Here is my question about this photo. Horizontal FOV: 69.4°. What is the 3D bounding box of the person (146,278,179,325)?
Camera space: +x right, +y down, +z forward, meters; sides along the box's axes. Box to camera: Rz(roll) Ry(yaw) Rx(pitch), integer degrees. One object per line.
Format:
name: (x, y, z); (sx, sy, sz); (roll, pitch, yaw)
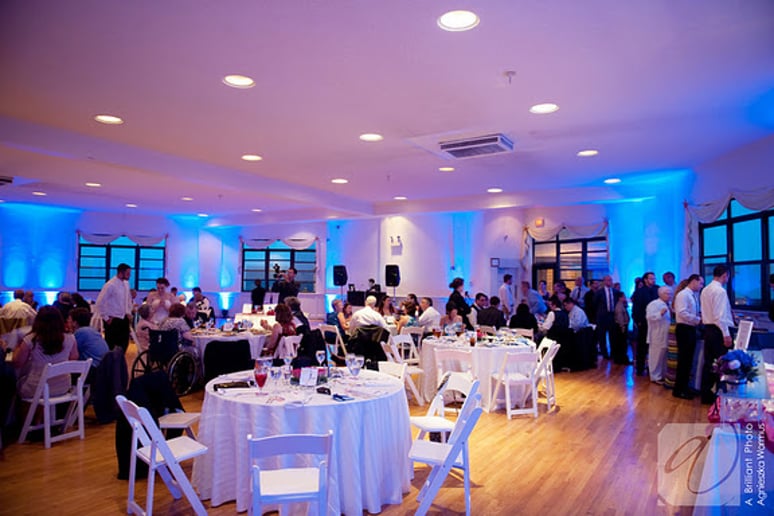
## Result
person: (-4.359, 0.818, 10.797); (0.555, 1.303, 0.454); (4, -15, -31)

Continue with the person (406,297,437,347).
person: (0.729, 1.216, 9.891); (0.510, 1.024, 0.436); (0, 2, 39)

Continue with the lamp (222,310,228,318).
lamp: (-5.058, 1.725, 17.487); (0.236, 0.252, 0.227); (4, -4, -15)

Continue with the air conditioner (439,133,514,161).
air conditioner: (1.243, -1.578, 7.887); (0.945, 0.188, 0.567); (-5, -6, 29)

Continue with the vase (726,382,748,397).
vase: (2.844, 1.060, 4.550); (0.087, 0.128, 0.084); (8, -13, 20)

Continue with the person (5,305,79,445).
person: (-4.166, 1.281, 6.787); (0.694, 1.419, 0.542); (0, -4, -26)

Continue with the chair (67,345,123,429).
chair: (-3.727, 1.587, 6.807); (0.687, 0.841, 0.665); (10, -12, -43)

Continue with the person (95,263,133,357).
person: (-4.616, 1.029, 9.546); (0.448, 1.872, 0.701); (8, 9, 18)

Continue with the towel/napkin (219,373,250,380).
towel/napkin: (-1.636, 1.275, 6.067); (0.175, 0.048, 0.150); (-3, -4, 9)

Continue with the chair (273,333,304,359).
chair: (-1.428, 1.230, 7.936); (0.339, 0.447, 0.378); (3, 3, -38)

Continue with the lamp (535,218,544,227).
lamp: (4.045, -0.965, 14.807); (0.255, 0.231, 0.098); (-3, -4, 15)

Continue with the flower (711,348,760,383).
flower: (2.898, 0.876, 4.692); (0.278, 0.269, 0.286); (-3, -2, -20)

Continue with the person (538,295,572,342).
person: (3.182, 1.196, 10.491); (0.504, 0.929, 0.475); (-10, 27, -26)

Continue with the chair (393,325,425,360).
chair: (0.298, 1.373, 9.088); (0.463, 0.796, 0.568); (0, 0, -15)

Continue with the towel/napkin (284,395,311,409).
towel/napkin: (-0.838, 1.353, 5.350); (0.239, 0.082, 0.268); (-2, -5, 3)

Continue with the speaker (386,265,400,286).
speaker: (0.131, 0.422, 13.911); (0.447, 0.427, 0.752); (3, -8, 8)

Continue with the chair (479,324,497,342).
chair: (1.685, 1.293, 9.649); (0.312, 0.412, 0.299); (-1, -11, 6)

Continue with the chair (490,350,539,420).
chair: (1.789, 1.762, 7.979); (0.553, 0.885, 0.718); (1, -3, -7)

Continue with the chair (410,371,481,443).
chair: (0.563, 1.713, 6.043); (0.686, 0.846, 0.649); (2, -2, 4)

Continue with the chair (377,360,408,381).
chair: (0.074, 1.288, 6.585); (0.226, 0.313, 0.230); (1, -1, 22)

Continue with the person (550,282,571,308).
person: (3.595, 0.754, 11.598); (0.295, 0.844, 0.357); (8, -12, -36)

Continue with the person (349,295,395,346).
person: (-0.245, 1.079, 9.687); (0.572, 0.418, 1.262); (13, -11, 2)
